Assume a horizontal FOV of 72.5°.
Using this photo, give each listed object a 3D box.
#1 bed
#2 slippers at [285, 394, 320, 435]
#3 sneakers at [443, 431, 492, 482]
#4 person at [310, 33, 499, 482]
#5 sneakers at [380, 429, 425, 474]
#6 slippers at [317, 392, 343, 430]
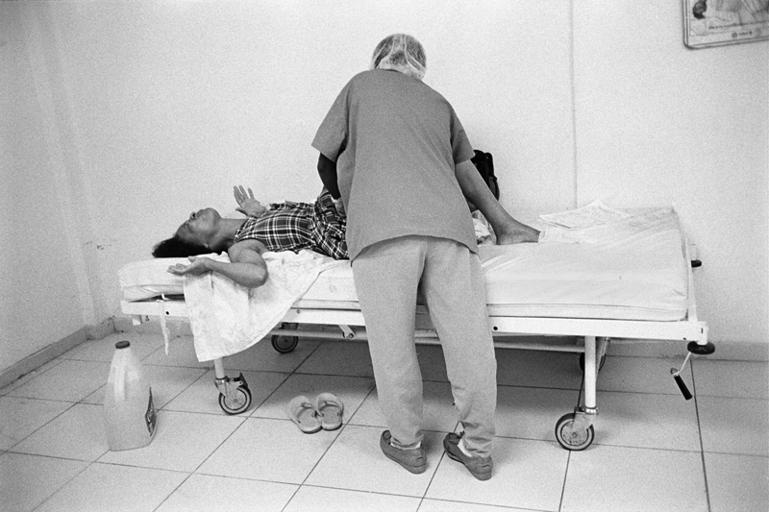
[{"bbox_3d":[0.283,0.121,2.646,2.138,0.621,1.489,-1,11,8],"label":"bed"},{"bbox_3d":[-0.436,0.853,2.805,0.116,0.066,0.203,-23,21,-16],"label":"slippers"},{"bbox_3d":[0.372,0.922,2.449,0.119,0.117,0.281,-6,27,-32],"label":"sneakers"},{"bbox_3d":[0.089,0.006,2.393,0.708,1.982,0.658,-6,15,-3],"label":"person"},{"bbox_3d":[0.087,0.932,2.482,0.112,0.100,0.255,-3,15,-41],"label":"sneakers"},{"bbox_3d":[-0.296,0.832,2.797,0.106,0.077,0.195,-3,15,-6],"label":"slippers"}]
